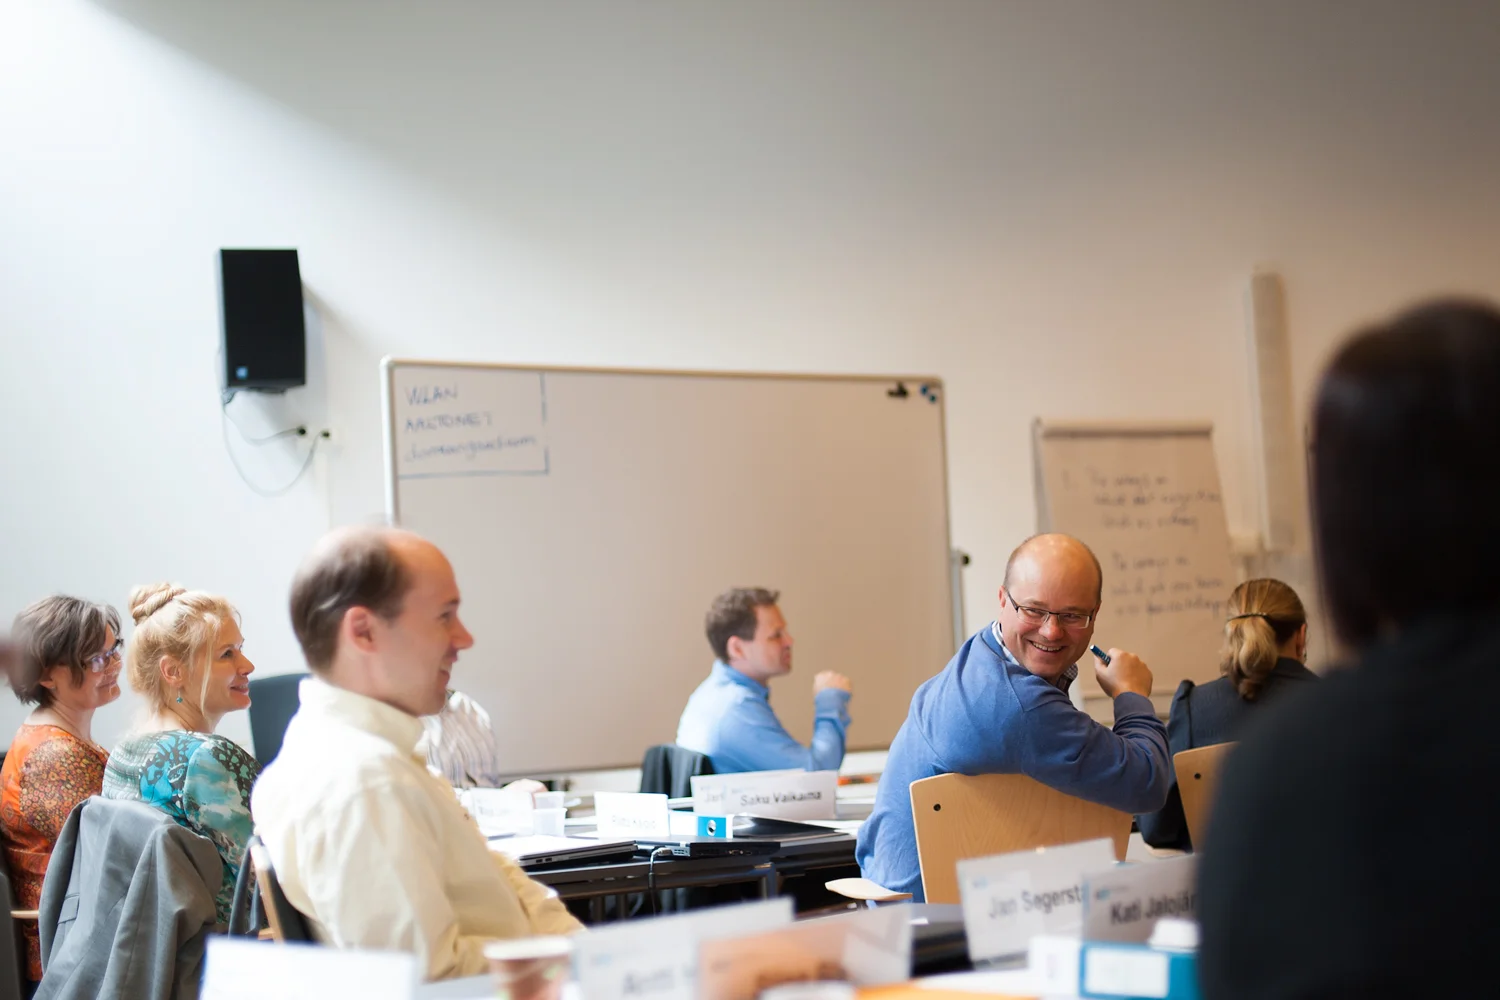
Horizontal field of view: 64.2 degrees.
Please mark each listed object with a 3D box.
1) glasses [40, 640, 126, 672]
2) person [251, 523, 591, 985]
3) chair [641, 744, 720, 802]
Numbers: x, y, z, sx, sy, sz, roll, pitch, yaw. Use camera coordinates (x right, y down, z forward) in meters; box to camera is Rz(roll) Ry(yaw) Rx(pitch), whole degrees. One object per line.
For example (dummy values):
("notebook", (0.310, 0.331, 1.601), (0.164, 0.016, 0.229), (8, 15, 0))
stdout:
("glasses", (-1.944, 0.460, 3.450), (0.157, 0.052, 0.159), (0, -3, 0))
("person", (-0.622, 0.498, 2.317), (0.605, 0.820, 0.823), (-2, -3, -20))
("chair", (-0.244, 0.873, 3.839), (0.184, 0.264, 0.209), (-10, -18, 34))
